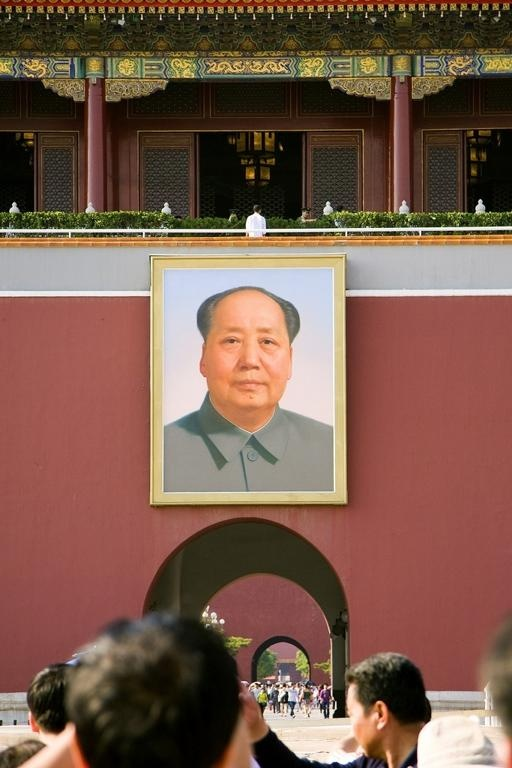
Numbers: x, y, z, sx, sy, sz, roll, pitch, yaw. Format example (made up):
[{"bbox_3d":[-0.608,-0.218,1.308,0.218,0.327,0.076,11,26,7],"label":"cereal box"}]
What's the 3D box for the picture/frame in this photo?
[{"bbox_3d":[-0.103,0.085,18.592,2.225,3.079,0.119,-1,-4,2],"label":"picture/frame"}]
